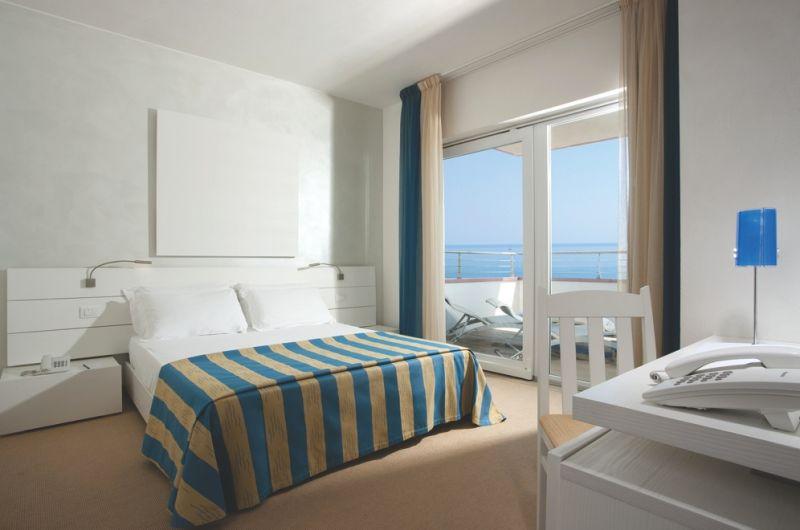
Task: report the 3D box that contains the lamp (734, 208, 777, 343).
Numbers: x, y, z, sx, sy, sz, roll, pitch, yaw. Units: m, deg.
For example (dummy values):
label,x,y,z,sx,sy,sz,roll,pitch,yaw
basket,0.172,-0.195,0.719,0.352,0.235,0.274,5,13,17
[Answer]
label,x,y,z,sx,sy,sz,roll,pitch,yaw
lamp,2.073,0.055,3.032,0.205,0.768,0.254,0,2,37

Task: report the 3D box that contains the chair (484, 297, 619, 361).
label,x,y,z,sx,sy,sz,roll,pitch,yaw
chair,1.397,0.625,4.989,1.226,0.429,0.492,-2,0,24

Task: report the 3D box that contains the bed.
label,x,y,z,sx,sy,sz,roll,pitch,yaw
bed,-1.055,0.890,3.928,1.857,0.917,1.789,-1,-1,-40

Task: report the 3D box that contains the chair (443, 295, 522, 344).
label,x,y,z,sx,sy,sz,roll,pitch,yaw
chair,0.868,0.575,5.450,0.770,0.345,0.349,-4,8,11

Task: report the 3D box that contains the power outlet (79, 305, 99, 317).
label,x,y,z,sx,sy,sz,roll,pitch,yaw
power outlet,-2.662,0.398,4.393,0.101,0.073,0.012,1,0,-41
